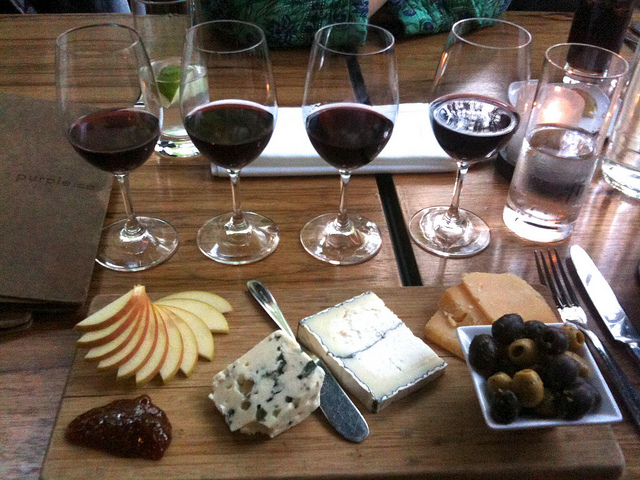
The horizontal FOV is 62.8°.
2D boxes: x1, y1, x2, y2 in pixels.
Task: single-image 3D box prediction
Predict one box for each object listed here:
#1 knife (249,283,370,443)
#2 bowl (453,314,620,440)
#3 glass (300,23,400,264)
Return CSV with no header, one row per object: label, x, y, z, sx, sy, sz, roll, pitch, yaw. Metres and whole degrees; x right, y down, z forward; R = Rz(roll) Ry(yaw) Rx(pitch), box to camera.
knife,-0.020,0.233,0.960,0.046,0.016,0.313,-36,67,-17
bowl,0.356,0.205,0.868,0.213,0.078,0.199,-1,47,1
glass,0.053,-0.197,1.119,0.205,0.452,0.300,4,48,7
